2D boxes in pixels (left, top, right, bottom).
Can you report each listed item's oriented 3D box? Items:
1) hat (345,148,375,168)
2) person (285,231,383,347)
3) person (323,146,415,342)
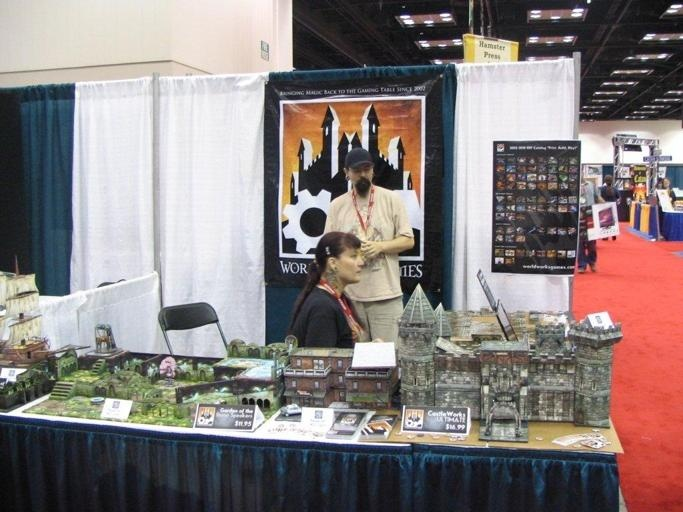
[{"bbox_3d":[0.118,-0.705,4.829,0.147,0.158,0.157,-3,4,-37],"label":"hat"},{"bbox_3d":[-0.085,0.244,4.053,0.457,0.774,0.748,2,4,6],"label":"person"},{"bbox_3d":[0.183,0.202,5.063,0.628,1.963,0.526,0,10,19],"label":"person"}]
